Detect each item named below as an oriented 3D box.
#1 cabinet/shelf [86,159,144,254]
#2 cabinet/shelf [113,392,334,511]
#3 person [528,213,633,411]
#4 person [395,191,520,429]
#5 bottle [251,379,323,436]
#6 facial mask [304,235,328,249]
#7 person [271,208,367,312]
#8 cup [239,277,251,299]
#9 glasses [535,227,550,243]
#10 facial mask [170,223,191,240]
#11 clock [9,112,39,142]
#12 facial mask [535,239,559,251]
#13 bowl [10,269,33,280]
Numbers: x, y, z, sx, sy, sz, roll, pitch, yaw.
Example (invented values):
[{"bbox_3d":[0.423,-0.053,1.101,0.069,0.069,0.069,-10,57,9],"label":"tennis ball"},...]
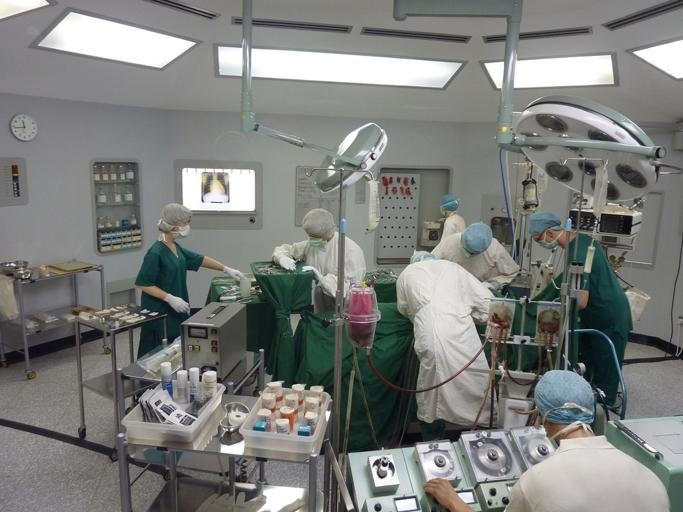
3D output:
[{"bbox_3d":[-2.527,-0.544,5.881,0.551,1.040,0.215,-3,5,-35],"label":"cabinet/shelf"},{"bbox_3d":[-0.693,1.154,3.039,0.701,0.658,0.451,2,19,3],"label":"cabinet/shelf"},{"bbox_3d":[1.992,0.517,4.378,0.698,1.840,0.576,0,11,32],"label":"person"},{"bbox_3d":[0.878,0.471,4.276,0.970,1.832,0.745,-3,-37,6],"label":"person"},{"bbox_3d":[-0.282,0.793,2.837,0.214,0.102,0.292,4,12,2],"label":"bottle"},{"bbox_3d":[-0.202,-0.108,4.565,0.183,0.114,0.315,0,5,-5],"label":"facial mask"},{"bbox_3d":[-0.211,0.140,4.640,0.788,1.164,0.635,8,27,15],"label":"person"},{"bbox_3d":[-0.793,0.265,4.295,0.139,0.167,0.088,1,3,11],"label":"cup"},{"bbox_3d":[1.623,-0.167,4.197,0.089,0.061,0.092,-5,0,-9],"label":"glasses"},{"bbox_3d":[-1.451,-0.205,4.665,0.128,0.103,0.129,4,12,-5],"label":"facial mask"},{"bbox_3d":[-3.107,-1.261,5.067,0.037,0.322,0.272,4,-3,32],"label":"clock"},{"bbox_3d":[1.718,-0.071,4.275,0.129,0.072,0.133,12,38,41],"label":"facial mask"},{"bbox_3d":[-3.007,0.175,4.900,0.111,0.063,0.120,-1,7,0],"label":"bowl"}]
